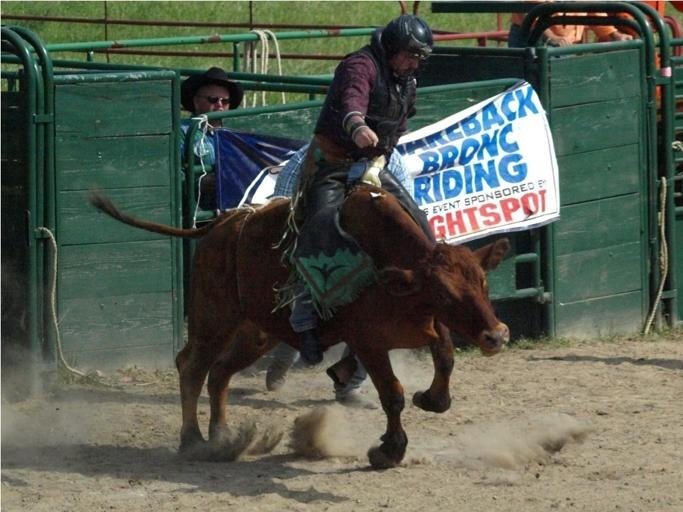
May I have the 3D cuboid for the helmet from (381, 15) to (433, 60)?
[{"bbox_3d":[0.477,-1.596,11.266,0.363,0.303,0.277,8,18,33],"label":"helmet"}]

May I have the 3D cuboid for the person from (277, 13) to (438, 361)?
[{"bbox_3d":[-0.006,-0.524,11.407,0.847,2.617,1.514,15,3,10],"label":"person"}]

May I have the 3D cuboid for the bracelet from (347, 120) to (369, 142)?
[{"bbox_3d":[0.106,-0.894,10.937,0.131,0.093,0.128,-21,6,9],"label":"bracelet"}]
